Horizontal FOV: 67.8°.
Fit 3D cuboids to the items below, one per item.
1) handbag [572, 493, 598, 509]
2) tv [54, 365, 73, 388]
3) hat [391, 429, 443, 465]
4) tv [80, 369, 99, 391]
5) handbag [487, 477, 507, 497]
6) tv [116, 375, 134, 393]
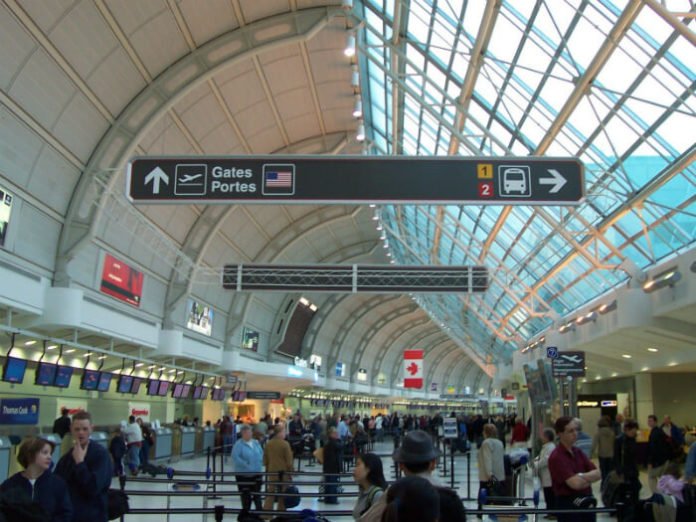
[{"bbox_3d":[2.919,2.947,6.350,0.362,0.158,0.113,6,-9,-24],"label":"handbag"},{"bbox_3d":[-10.087,4.039,18.211,0.275,0.741,0.869,3,-8,-9],"label":"tv"},{"bbox_3d":[0.564,1.532,4.290,0.314,0.260,0.357,1,-8,6],"label":"hat"},{"bbox_3d":[-10.117,4.642,20.178,0.133,0.867,0.989,0,-10,20],"label":"tv"},{"bbox_3d":[3.060,4.649,10.723,0.380,0.426,0.814,1,-8,11],"label":"handbag"},{"bbox_3d":[-9.731,5.308,22.392,0.472,0.804,0.880,1,-11,8],"label":"tv"}]
